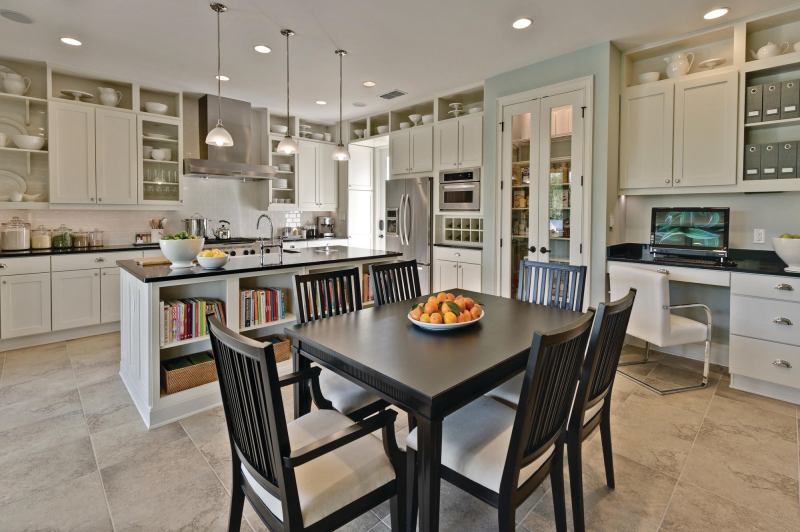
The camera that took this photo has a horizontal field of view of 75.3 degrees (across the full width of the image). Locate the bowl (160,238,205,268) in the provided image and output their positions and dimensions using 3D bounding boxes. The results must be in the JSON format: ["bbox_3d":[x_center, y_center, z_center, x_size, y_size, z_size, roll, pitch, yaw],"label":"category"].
[{"bbox_3d":[-2.008,-0.135,4.755,0.306,0.213,0.303,0,1,0],"label":"bowl"}]

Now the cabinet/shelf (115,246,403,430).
[{"bbox_3d":[-1.655,0.588,4.965,3.109,1.371,1.483,0,6,-37],"label":"cabinet/shelf"}]

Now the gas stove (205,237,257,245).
[{"bbox_3d":[-2.426,-0.364,7.419,0.677,0.100,0.455,-4,5,-20],"label":"gas stove"}]

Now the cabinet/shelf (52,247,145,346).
[{"bbox_3d":[-3.463,0.346,5.849,1.159,1.065,0.473,-1,1,-44],"label":"cabinet/shelf"}]

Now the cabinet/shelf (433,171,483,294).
[{"bbox_3d":[0.855,-0.326,7.165,0.773,1.975,0.303,4,7,40],"label":"cabinet/shelf"}]

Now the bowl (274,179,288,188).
[{"bbox_3d":[-1.856,-1.263,8.017,0.155,0.113,0.156,0,3,0],"label":"bowl"}]

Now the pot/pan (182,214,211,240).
[{"bbox_3d":[-2.880,-0.569,7.392,0.377,0.353,0.236,-5,6,-29],"label":"pot/pan"}]

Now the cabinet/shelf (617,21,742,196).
[{"bbox_3d":[3.035,-1.615,5.637,1.176,1.640,0.375,2,7,36],"label":"cabinet/shelf"}]

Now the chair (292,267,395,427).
[{"bbox_3d":[-0.412,0.541,4.199,0.623,1.239,0.694,-4,6,-42],"label":"chair"}]

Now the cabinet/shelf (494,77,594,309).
[{"bbox_3d":[1.731,-1.053,6.126,1.431,3.293,0.622,2,3,44],"label":"cabinet/shelf"}]

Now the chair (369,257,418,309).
[{"bbox_3d":[-0.045,0.135,4.715,0.397,0.674,0.411,-5,7,-34],"label":"chair"}]

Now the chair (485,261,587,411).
[{"bbox_3d":[1.166,0.692,4.597,0.808,1.371,0.706,2,13,-14],"label":"chair"}]

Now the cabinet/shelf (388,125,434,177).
[{"bbox_3d":[0.400,-1.657,7.754,0.627,0.687,0.995,-4,6,-43],"label":"cabinet/shelf"}]

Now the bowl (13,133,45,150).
[{"bbox_3d":[-4.359,-1.449,6.075,0.238,0.151,0.246,0,0,0],"label":"bowl"}]

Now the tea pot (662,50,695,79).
[{"bbox_3d":[2.996,-2.162,5.565,0.322,0.289,0.252,6,9,42],"label":"tea pot"}]

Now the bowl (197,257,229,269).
[{"bbox_3d":[-1.741,-0.033,4.792,0.264,0.118,0.154,-3,5,-8],"label":"bowl"}]

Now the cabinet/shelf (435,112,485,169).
[{"bbox_3d":[0.907,-1.626,7.142,0.715,0.650,0.523,0,0,29],"label":"cabinet/shelf"}]

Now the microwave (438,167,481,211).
[{"bbox_3d":[0.861,-1.010,7.119,0.588,0.539,0.392,2,9,27],"label":"microwave"}]

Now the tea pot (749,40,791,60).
[{"bbox_3d":[3.707,-2.155,5.186,0.314,0.212,0.272,1,6,33],"label":"tea pot"}]

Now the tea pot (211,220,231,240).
[{"bbox_3d":[-2.611,-0.550,7.631,0.278,0.278,0.198,-6,6,-31],"label":"tea pot"}]

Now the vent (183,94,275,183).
[{"bbox_3d":[-2.482,-1.840,7.437,1.233,1.042,0.637,-1,6,-34],"label":"vent"}]

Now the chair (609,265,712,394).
[{"bbox_3d":[2.680,0.469,5.394,0.989,1.640,0.915,-1,5,-20],"label":"chair"}]

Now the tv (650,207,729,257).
[{"bbox_3d":[3.105,-0.377,5.565,0.716,0.518,0.067,5,15,34],"label":"tv"}]
